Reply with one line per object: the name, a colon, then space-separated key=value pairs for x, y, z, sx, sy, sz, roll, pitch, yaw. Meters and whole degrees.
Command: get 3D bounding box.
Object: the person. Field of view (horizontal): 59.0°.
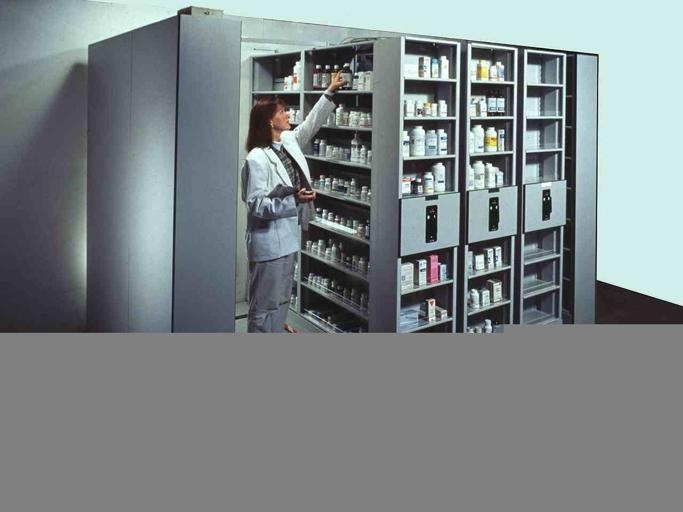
person: x=-0.474 y=-0.271 z=4.376 sx=0.510 sy=1.694 sz=0.284 roll=1 pitch=3 yaw=-11
